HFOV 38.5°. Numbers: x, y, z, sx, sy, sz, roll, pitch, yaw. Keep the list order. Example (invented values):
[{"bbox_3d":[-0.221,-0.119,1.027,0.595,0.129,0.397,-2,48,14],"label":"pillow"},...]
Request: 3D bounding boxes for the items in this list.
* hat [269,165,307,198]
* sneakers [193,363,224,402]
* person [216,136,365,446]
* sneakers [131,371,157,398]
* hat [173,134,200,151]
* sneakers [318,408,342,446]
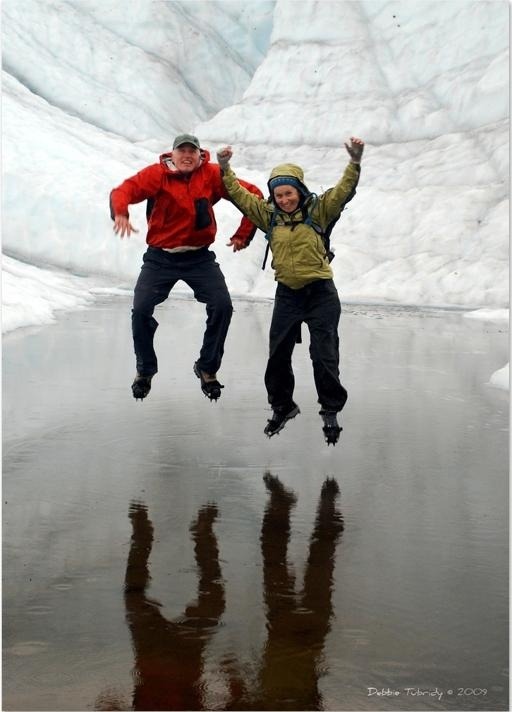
[{"bbox_3d":[0.182,-1.006,4.205,0.231,0.193,0.236,1,9,-2],"label":"hat"},{"bbox_3d":[-0.339,0.203,5.154,0.134,0.160,0.362,-8,39,-18],"label":"sneakers"},{"bbox_3d":[0.198,-0.359,4.321,0.840,1.750,0.435,7,12,30],"label":"person"},{"bbox_3d":[-0.792,0.206,5.091,0.139,0.166,0.069,4,-2,6],"label":"sneakers"},{"bbox_3d":[-0.441,-1.332,4.592,0.115,0.069,0.143,1,-7,-4],"label":"hat"},{"bbox_3d":[0.415,0.405,4.227,0.101,0.091,0.235,3,29,-5],"label":"sneakers"}]
